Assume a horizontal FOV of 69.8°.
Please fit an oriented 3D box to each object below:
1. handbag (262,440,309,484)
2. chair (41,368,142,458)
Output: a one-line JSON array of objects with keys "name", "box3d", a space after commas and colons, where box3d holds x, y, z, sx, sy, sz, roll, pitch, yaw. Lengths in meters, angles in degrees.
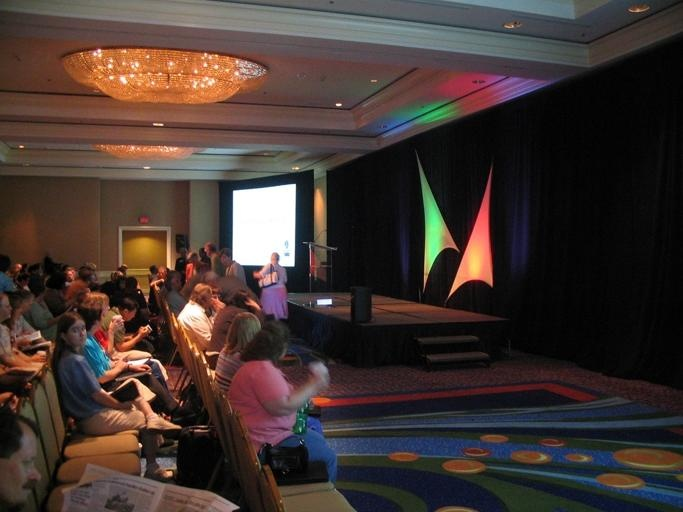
[{"name": "handbag", "box3d": [-0.301, 1.118, 2.673, 0.229, 0.161, 0.173, 0, 15, -9]}, {"name": "chair", "box3d": [-1.622, 0.892, 3.294, 0.545, 0.647, 0.933, -3, -5, -22]}]
